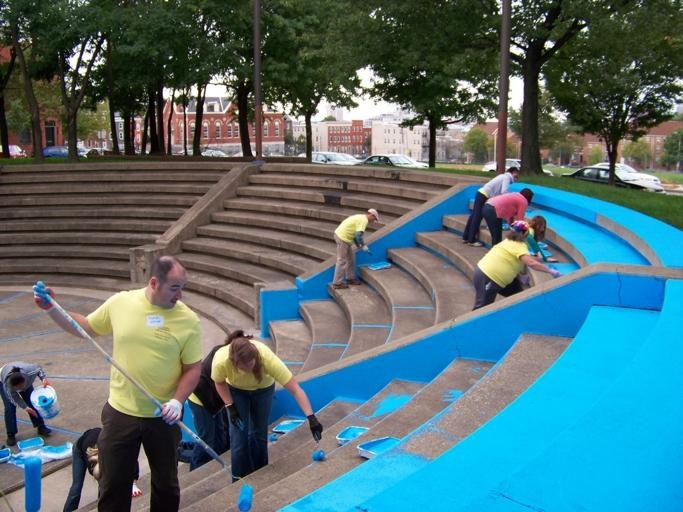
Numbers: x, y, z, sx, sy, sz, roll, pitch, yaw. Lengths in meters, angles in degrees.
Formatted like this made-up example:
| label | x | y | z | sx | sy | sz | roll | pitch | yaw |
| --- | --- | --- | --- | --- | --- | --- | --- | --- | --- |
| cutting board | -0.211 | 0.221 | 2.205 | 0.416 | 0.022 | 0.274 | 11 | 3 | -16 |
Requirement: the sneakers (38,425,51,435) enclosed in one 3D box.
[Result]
| label | x | y | z | sx | sy | sz | roll | pitch | yaw |
| --- | --- | --- | --- | --- | --- | --- | --- | --- | --- |
| sneakers | -4.294 | 2.494 | 8.408 | 0.220 | 0.155 | 0.075 | -7 | -1 | 28 |

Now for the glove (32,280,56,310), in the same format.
| label | x | y | z | sx | sy | sz | roll | pitch | yaw |
| --- | --- | --- | --- | --- | --- | --- | --- | --- | --- |
| glove | -2.599 | 0.339 | 5.108 | 0.143 | 0.271 | 0.393 | -5 | 9 | -27 |

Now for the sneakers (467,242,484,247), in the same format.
| label | x | y | z | sx | sy | sz | roll | pitch | yaw |
| --- | --- | --- | --- | --- | --- | --- | --- | --- | --- |
| sneakers | 2.638 | -0.221 | 11.462 | 0.231 | 0.102 | 0.100 | -2 | 4 | 12 |

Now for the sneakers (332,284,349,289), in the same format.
| label | x | y | z | sx | sy | sz | roll | pitch | yaw |
| --- | --- | --- | --- | --- | --- | --- | --- | --- | --- |
| sneakers | -0.006 | 0.619 | 11.908 | 0.273 | 0.118 | 0.119 | -3 | 8 | -5 |

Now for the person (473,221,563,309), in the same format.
| label | x | y | z | sx | sy | sz | roll | pitch | yaw |
| --- | --- | --- | --- | --- | --- | --- | --- | --- | --- |
| person | 2.259 | 0.108 | 7.988 | 0.819 | 1.152 | 0.867 | 2 | 8 | 21 |

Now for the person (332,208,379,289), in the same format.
| label | x | y | z | sx | sy | sz | roll | pitch | yaw |
| --- | --- | --- | --- | --- | --- | --- | --- | --- | --- |
| person | 0.311 | -0.073 | 12.169 | 1.163 | 1.853 | 0.834 | -6 | 39 | -12 |

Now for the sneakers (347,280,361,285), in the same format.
| label | x | y | z | sx | sy | sz | roll | pitch | yaw |
| --- | --- | --- | --- | --- | --- | --- | --- | --- | --- |
| sneakers | 0.258 | 0.537 | 12.143 | 0.255 | 0.110 | 0.111 | -2 | 2 | 0 |

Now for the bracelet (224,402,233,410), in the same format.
| label | x | y | z | sx | sy | sz | roll | pitch | yaw |
| --- | --- | --- | --- | --- | --- | --- | --- | --- | --- |
| bracelet | -1.183 | 1.569 | 6.132 | 0.071 | 0.058 | 0.069 | -7 | -2 | 35 |

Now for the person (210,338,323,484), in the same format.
| label | x | y | z | sx | sy | sz | roll | pitch | yaw |
| --- | --- | --- | --- | --- | --- | --- | --- | --- | --- |
| person | -0.854 | 1.784 | 6.509 | 0.657 | 1.561 | 1.079 | -25 | 48 | -33 |

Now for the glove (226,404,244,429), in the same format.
| label | x | y | z | sx | sy | sz | roll | pitch | yaw |
| --- | --- | --- | --- | --- | --- | --- | --- | --- | --- |
| glove | -1.114 | 1.670 | 6.160 | 0.103 | 0.260 | 0.165 | -33 | 1 | -2 |

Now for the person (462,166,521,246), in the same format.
| label | x | y | z | sx | sy | sz | roll | pitch | yaw |
| --- | --- | --- | --- | --- | --- | --- | --- | --- | --- |
| person | 3.000 | -0.889 | 11.343 | 1.060 | 1.753 | 0.636 | 13 | -13 | 13 |

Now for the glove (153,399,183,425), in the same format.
| label | x | y | z | sx | sy | sz | roll | pitch | yaw |
| --- | --- | --- | --- | --- | --- | --- | --- | --- | --- |
| glove | -1.500 | 1.332 | 5.105 | 0.253 | 0.125 | 0.195 | 19 | 59 | 42 |
